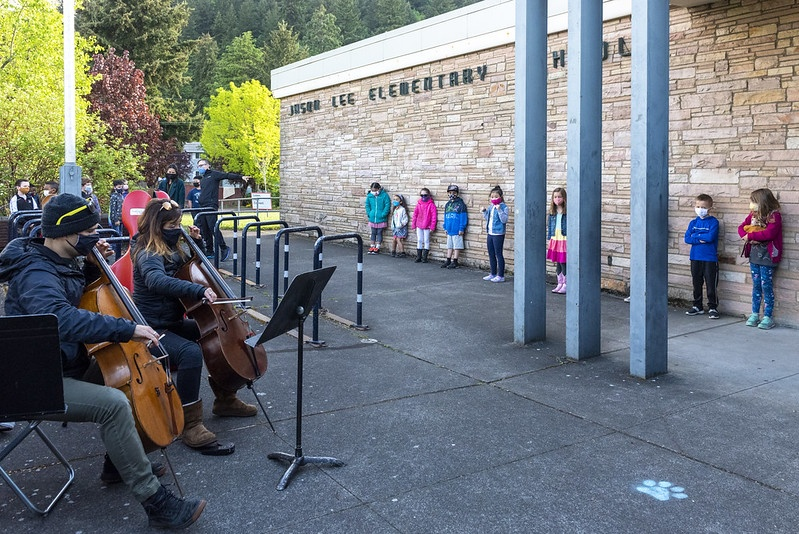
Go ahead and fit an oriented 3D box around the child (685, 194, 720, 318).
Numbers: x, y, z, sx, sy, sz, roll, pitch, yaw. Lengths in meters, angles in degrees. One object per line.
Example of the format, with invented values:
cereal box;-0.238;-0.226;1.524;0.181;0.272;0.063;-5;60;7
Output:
child;4.707;-0.160;9.939;0.473;1.847;0.599;2;14;9

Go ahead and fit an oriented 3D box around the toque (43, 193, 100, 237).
toque;-2.638;-0.405;5.152;0.371;0.262;0.362;-6;12;-18

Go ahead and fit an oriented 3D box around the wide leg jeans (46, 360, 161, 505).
wide leg jeans;-2.256;1.254;5.001;0.593;1.135;0.348;-14;4;1

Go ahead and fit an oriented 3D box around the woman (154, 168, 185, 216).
woman;-5.513;-1.678;15.458;0.636;1.439;0.382;2;-4;-7

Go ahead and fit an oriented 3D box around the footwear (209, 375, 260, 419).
footwear;-1.760;1.364;6.864;0.634;0.493;0.287;-3;6;-18

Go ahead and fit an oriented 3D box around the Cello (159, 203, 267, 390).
Cello;-1.891;0.416;6.493;0.592;1.660;0.617;-31;-12;18

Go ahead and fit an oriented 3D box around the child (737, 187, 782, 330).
child;5.234;-0.125;9.380;0.576;1.949;0.529;7;16;28

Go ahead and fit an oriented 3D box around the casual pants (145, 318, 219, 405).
casual pants;-2.012;0.859;6.082;0.226;0.804;0.451;-17;-12;25
